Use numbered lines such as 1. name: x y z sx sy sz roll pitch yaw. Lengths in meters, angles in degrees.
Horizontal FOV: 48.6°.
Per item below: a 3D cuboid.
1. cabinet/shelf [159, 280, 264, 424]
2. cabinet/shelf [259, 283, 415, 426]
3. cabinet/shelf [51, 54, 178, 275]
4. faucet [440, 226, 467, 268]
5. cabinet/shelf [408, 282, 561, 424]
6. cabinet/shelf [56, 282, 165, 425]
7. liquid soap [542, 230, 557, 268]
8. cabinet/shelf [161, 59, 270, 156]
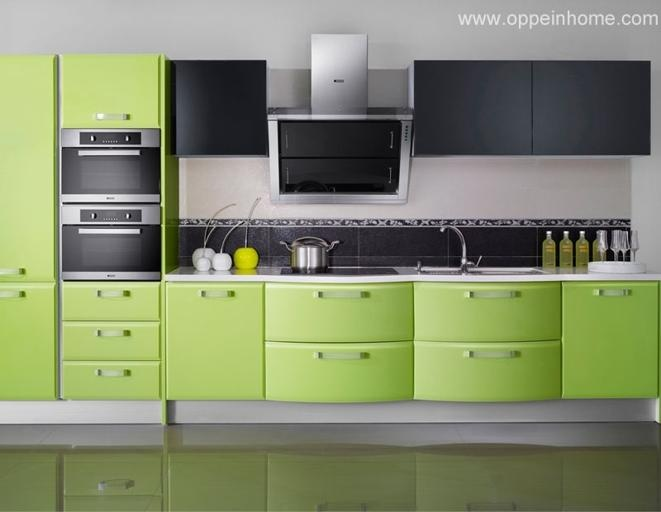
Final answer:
1. cabinet/shelf: -0.651 0.579 5.233 0.781 0.799 0.852 -1 -1 15
2. cabinet/shelf: 0.042 0.584 5.090 1.063 0.779 0.631 1 -5 -8
3. cabinet/shelf: -1.464 -0.582 4.877 0.708 1.457 0.380 0 14 2
4. faucet: 0.893 -0.080 5.262 0.210 0.345 0.411 2 14 8
5. cabinet/shelf: 1.033 0.572 4.814 0.903 0.670 0.775 0 -3 3
6. cabinet/shelf: -1.513 0.598 5.130 0.737 0.894 0.688 1 5 -29
7. liquid soap: 1.603 -0.053 5.364 0.099 0.252 0.167 4 14 15
8. cabinet/shelf: -0.749 -1.037 5.263 0.731 0.676 0.411 2 4 14
